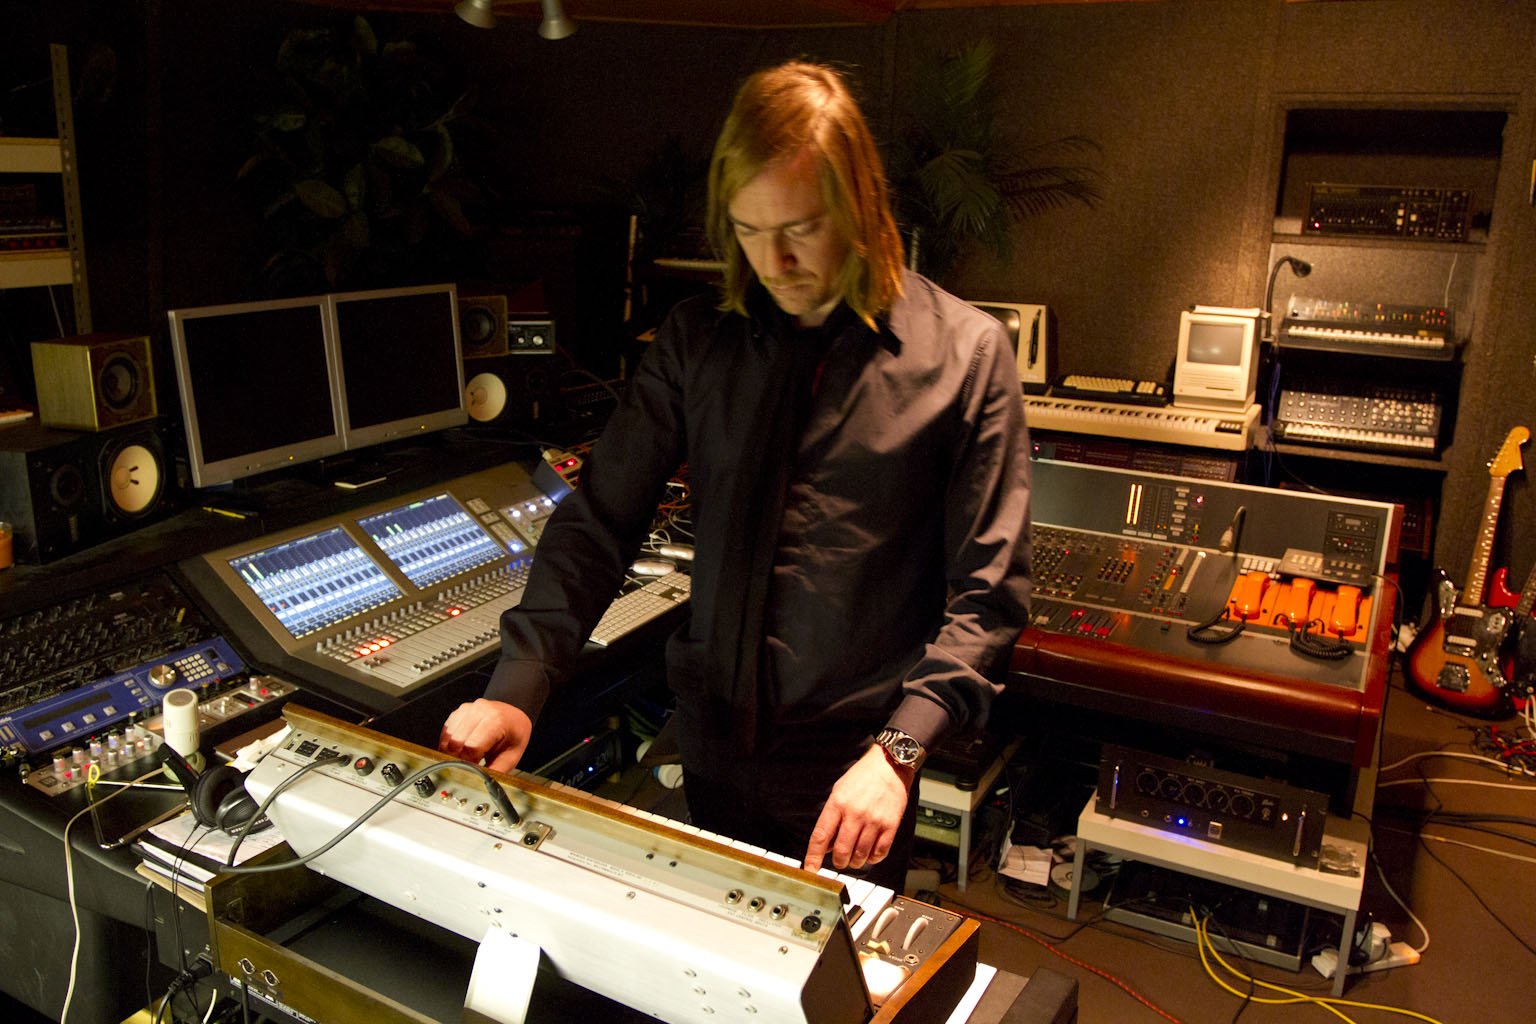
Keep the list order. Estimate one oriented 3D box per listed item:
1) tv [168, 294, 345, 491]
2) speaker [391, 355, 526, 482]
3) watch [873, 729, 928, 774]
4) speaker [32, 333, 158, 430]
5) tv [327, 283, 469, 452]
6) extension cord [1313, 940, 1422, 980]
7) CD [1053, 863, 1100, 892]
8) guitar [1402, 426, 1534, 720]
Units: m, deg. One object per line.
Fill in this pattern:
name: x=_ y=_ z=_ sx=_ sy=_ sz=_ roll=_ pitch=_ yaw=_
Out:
tv: x=-1.439 y=-0.339 z=3.057 sx=0.049 sy=0.486 sz=0.512 roll=8 pitch=18 yaw=37
speaker: x=-0.991 y=-0.307 z=3.591 sx=0.419 sy=0.170 sz=0.414 roll=10 pitch=15 yaw=14
watch: x=0.234 y=0.423 z=1.919 sx=0.087 sy=0.031 sz=0.064 roll=-5 pitch=39 yaw=-9
speaker: x=-1.753 y=-0.386 z=2.986 sx=0.261 sy=0.308 sz=0.324 roll=6 pitch=13 yaw=15
tv: x=-1.160 y=-0.447 z=3.375 sx=0.034 sy=0.433 sz=0.467 roll=8 pitch=28 yaw=38
extension cord: x=1.872 y=1.406 z=3.390 sx=0.390 sy=0.061 sz=0.088 roll=4 pitch=15 yaw=-16
CD: x=1.043 y=1.243 z=3.665 sx=0.111 sy=0.029 sz=0.110 roll=7 pitch=24 yaw=29
guitar: x=3.258 y=0.244 z=4.871 sx=0.429 sy=1.229 sz=0.646 roll=18 pitch=17 yaw=34
